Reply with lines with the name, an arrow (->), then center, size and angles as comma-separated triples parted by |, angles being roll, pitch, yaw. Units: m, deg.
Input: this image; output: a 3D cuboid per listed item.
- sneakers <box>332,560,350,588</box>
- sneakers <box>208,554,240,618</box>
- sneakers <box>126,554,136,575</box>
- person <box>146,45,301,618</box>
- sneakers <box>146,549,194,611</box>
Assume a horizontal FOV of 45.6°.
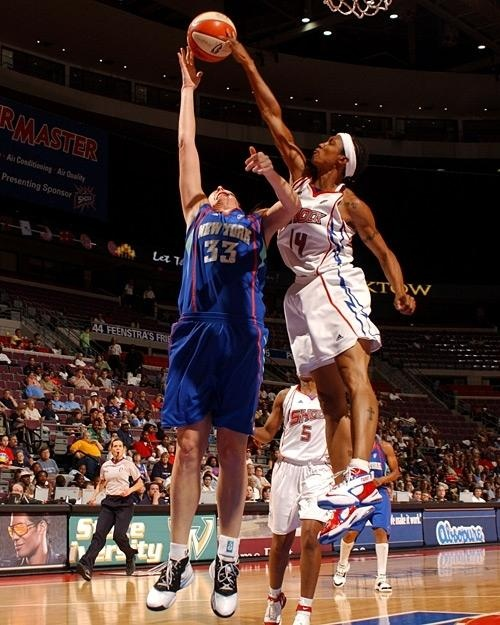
sneakers -> 1.101, 3.166, 7.275 | 0.208, 0.208, 0.590 | 0, 1, 16
sneakers -> -0.114, 1.215, 2.715 | 0.120, 0.314, 0.134 | 2, -48, -6
sneakers -> -1.647, 3.485, 8.229 | 0.118, 0.284, 0.131 | -4, -9, 42
person -> -0.119, -0.022, 2.851 | 0.620, 3.092, 0.899 | 5, -9, -10
sneakers -> -0.333, 1.144, 2.591 | 0.133, 0.140, 0.362 | 5, 3, 18
